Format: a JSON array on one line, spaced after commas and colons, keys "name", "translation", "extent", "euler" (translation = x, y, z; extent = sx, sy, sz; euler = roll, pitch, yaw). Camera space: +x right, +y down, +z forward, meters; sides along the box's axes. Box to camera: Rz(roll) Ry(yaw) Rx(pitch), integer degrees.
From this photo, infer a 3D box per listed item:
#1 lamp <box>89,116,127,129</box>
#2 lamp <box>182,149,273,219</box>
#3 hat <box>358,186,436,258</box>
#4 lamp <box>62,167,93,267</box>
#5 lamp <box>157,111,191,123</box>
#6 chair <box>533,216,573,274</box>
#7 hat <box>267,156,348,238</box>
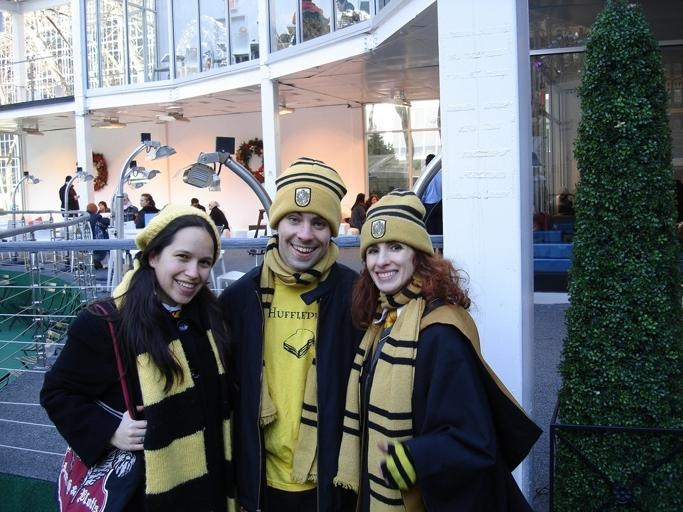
[{"name": "lamp", "translation": [-6.871, -3.961, 20.362], "extent": [0.722, 0.245, 0.736], "euler": [-1, 2, -28]}, {"name": "lamp", "translation": [-0.979, -0.523, 6.023], "extent": [0.668, 0.194, 1.048], "euler": [-10, -39, -8]}, {"name": "hat", "translation": [0.302, -0.158, 3.525], "extent": [0.340, 0.405, 0.399], "euler": [-10, -21, 36]}, {"name": "lamp", "translation": [-5.794, -0.856, 15.173], "extent": [0.411, 2.233, 0.804], "euler": [21, 27, 34]}, {"name": "lamp", "translation": [-4.782, -3.938, 19.503], "extent": [0.610, 0.179, 0.639], "euler": [4, 7, 36]}, {"name": "chair", "translation": [2.373, -0.102, 7.761], "extent": [0.516, 0.373, 0.298], "euler": [4, 21, 20]}, {"name": "hat", "translation": [-0.190, -0.278, 3.680], "extent": [0.334, 0.389, 0.403], "euler": [14, -5, -6]}]
